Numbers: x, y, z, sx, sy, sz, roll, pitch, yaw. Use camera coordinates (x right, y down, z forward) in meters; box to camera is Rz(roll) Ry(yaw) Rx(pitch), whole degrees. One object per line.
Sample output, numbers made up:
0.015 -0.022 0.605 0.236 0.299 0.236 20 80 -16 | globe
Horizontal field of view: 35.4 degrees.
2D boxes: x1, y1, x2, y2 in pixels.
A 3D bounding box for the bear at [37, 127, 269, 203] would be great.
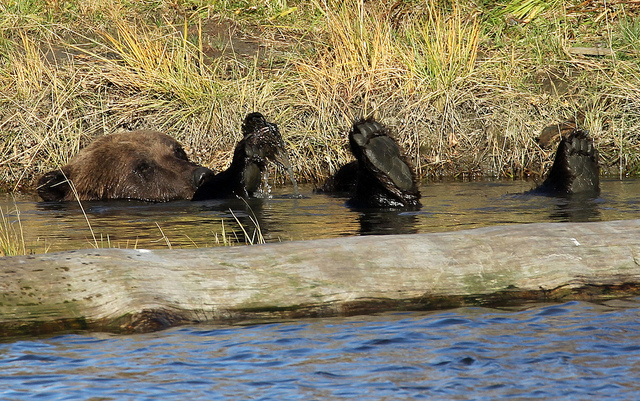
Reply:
-2.119 -0.438 12.779 3.111 0.964 0.986 3 12 28 | bear
